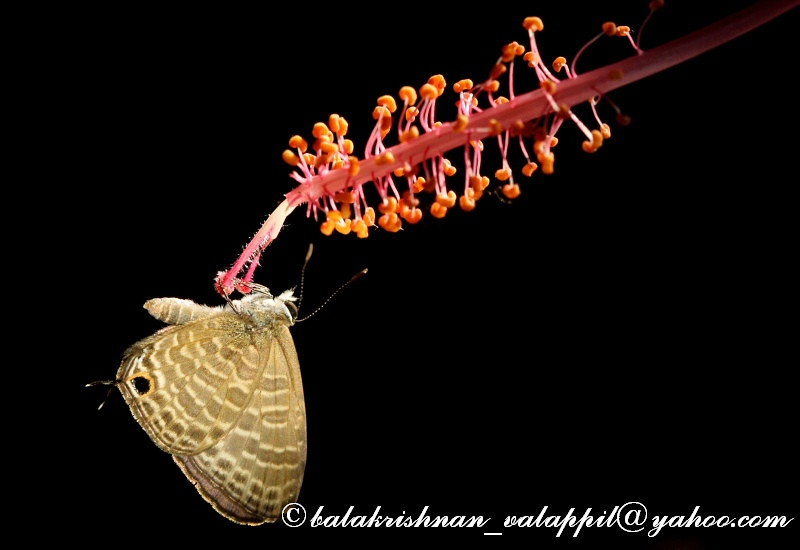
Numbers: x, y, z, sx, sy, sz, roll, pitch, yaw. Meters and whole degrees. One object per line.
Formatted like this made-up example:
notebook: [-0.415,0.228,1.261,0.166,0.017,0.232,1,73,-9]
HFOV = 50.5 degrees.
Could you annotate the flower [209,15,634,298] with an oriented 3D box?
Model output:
flower: [0.065,-0.252,1.705,0.760,0.273,0.249,-25,29,13]
